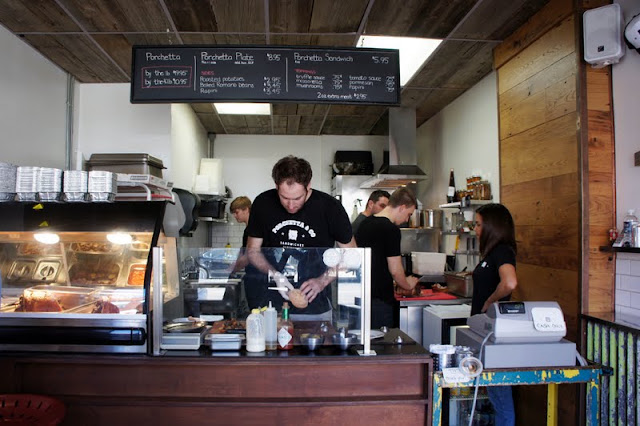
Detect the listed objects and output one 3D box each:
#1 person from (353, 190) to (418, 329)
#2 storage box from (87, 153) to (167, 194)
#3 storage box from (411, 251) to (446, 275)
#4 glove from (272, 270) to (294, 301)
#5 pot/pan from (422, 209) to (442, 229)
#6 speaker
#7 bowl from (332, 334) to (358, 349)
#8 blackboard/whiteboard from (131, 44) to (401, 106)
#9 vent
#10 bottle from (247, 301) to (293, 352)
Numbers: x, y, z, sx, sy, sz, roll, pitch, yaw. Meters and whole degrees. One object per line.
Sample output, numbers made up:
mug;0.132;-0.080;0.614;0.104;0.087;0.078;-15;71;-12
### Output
person;0.578;0.399;4.539;0.546;1.266;0.698;-1;-3;10
storage box;-1.636;-0.371;4.537;0.674;0.410;0.791;1;-3;-34
storage box;1.202;0.529;5.583;0.294;0.167;0.249;1;-1;-12
glove;-0.239;0.460;3.343;0.130;0.188;0.031;0;-3;-4
pot/pan;1.376;0.056;6.406;0.229;0.203;0.236;1;-6;-8
speaker;2.204;-1.365;3.989;0.270;0.436;0.153;-2;-3;27
bowl;0.167;0.822;3.364;0.121;0.071;0.116;0;-8;0
blackboard/whiteboard;-0.472;-1.208;4.505;2.329;0.493;0.070;0;-3;-2
vent;0.961;-0.845;6.644;0.686;0.957;0.763;0;-3;-1
bottle;-0.323;0.741;3.333;0.381;0.365;0.209;3;-5;-13
